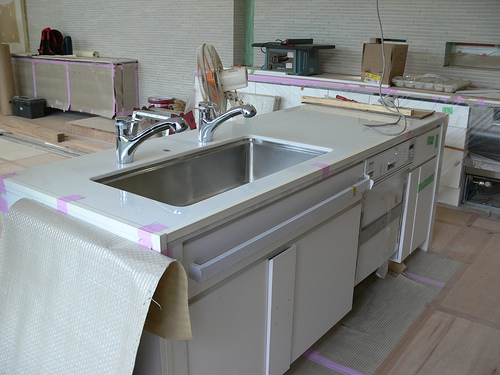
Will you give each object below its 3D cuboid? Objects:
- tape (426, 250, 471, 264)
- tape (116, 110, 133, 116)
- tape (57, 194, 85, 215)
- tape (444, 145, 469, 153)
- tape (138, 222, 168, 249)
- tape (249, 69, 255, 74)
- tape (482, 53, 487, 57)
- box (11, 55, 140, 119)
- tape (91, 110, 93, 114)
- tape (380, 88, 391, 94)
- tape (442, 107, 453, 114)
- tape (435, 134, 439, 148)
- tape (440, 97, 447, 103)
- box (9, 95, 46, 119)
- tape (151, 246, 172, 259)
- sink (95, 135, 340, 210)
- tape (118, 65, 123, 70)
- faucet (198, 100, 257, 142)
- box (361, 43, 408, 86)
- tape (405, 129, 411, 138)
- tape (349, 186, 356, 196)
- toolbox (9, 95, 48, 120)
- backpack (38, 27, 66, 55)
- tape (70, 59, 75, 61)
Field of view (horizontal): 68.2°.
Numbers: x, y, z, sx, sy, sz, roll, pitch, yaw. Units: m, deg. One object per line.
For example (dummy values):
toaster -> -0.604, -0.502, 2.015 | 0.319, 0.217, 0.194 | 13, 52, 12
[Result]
tape -> 1.535, 0.545, 2.878 | 0.305, 0.004, 0.069 | 15, 27, 35
tape -> -2.131, -1.243, 6.293 | 0.256, 0.090, 0.502 | -9, 23, -18
tape -> -0.602, 0.049, 1.240 | 0.060, 0.016, 0.066 | 18, 26, 33
tape -> 2.019, -0.375, 3.622 | 0.275, 0.035, 0.039 | 11, 23, 20
tape -> -0.281, 0.141, 1.082 | 0.067, 0.049, 0.067 | 14, 26, 34
tape -> 0.016, -1.474, 4.726 | 0.062, 0.044, 0.033 | -21, 37, -29
tape -> 2.516, -1.420, 3.987 | 0.037, 0.028, 0.021 | 9, 38, 22
box -> -3.211, -1.894, 6.817 | 2.433, 0.979, 0.667 | 10, 24, 26
tape -> -2.768, -1.311, 6.484 | 0.039, 0.076, 0.041 | 6, 26, 15
tape -> 1.427, -1.011, 3.903 | 0.089, 0.056, 0.045 | 0, 21, 4
tape -> 1.909, -0.744, 3.593 | 0.078, 0.061, 0.063 | -4, 21, -8
tape -> 1.313, -0.327, 2.612 | 0.012, 0.093, 0.067 | 14, 26, 35
tape -> 1.868, -0.843, 3.587 | 0.061, 0.045, 0.009 | 11, 24, 28
box -> -4.084, -1.476, 6.840 | 0.534, 0.342, 0.387 | 15, 20, 26
tape -> -0.259, 0.179, 1.065 | 0.035, 0.023, 0.035 | 16, 25, 35
sink -> -0.336, 0.016, 1.957 | 0.819, 0.195, 0.478 | -15, -18, 10
tape -> -2.183, -2.041, 6.285 | 0.046, 0.060, 0.087 | 22, 36, 35
faucet -> -0.140, -0.289, 1.723 | 0.137, 0.213, 0.385 | -15, 25, -32
box -> 1.330, -1.263, 3.846 | 0.424, 0.426, 0.841 | 10, 24, 27
tape -> 0.927, -0.314, 2.167 | 0.049, 0.051, 0.037 | 8, 24, 22
tape -> 0.482, 0.019, 1.751 | 0.037, 0.037, 0.018 | -16, 29, -29
toolbox -> -4.083, -1.541, 6.857 | 0.552, 0.351, 0.447 | 18, 28, 31
backpack -> -3.770, -2.753, 7.115 | 0.346, 0.515, 0.481 | 10, 10, 38
tape -> -3.072, -2.215, 6.445 | 0.114, 0.025, 0.021 | 15, 26, 35
